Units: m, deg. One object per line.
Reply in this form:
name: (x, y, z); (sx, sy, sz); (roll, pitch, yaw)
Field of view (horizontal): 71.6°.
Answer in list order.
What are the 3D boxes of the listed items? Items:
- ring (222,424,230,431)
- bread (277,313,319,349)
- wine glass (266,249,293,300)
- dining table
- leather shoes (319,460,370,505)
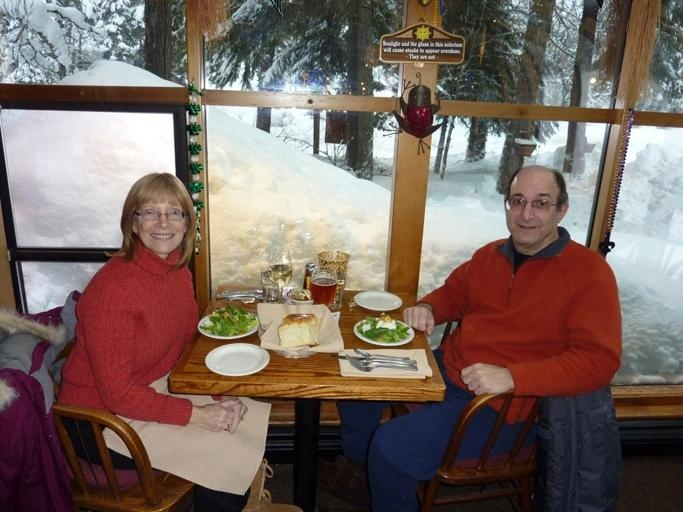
ring: (-0.468, 0.692, 1.914); (0.025, 0.026, 0.008); (-2, 0, -2)
bread: (-0.183, 0.313, 1.979); (0.186, 0.131, 0.093); (-2, -2, -25)
wine glass: (-0.295, 0.117, 2.308); (0.127, 0.288, 0.109); (2, 17, 0)
dining table: (-0.179, 0.529, 2.127); (0.827, 0.788, 0.811); (0, 19, -2)
leather shoes: (0.026, 1.179, 2.505); (0.252, 0.099, 0.199); (19, 17, 22)
